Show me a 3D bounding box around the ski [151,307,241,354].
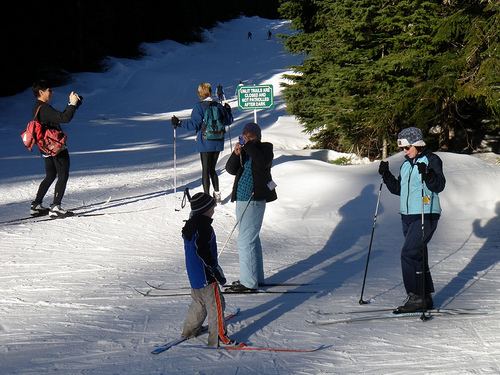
[{"bbox_3d":[-0.717,1.915,7.457,1.318,0.068,0.145,-23,34,-35],"label":"ski"}]

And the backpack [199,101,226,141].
[{"bbox_3d":[-0.757,-1.345,11.420,0.504,0.803,0.330,-6,12,-8],"label":"backpack"}]

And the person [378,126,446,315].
[{"bbox_3d":[2.394,0.476,8.256,0.867,2.635,0.940,-3,12,8],"label":"person"}]

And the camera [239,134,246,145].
[{"bbox_3d":[-0.124,-0.737,8.671,0.042,0.125,0.091,3,2,15],"label":"camera"}]

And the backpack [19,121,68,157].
[{"bbox_3d":[-3.859,-0.957,10.640,0.704,0.574,0.281,28,-4,-5],"label":"backpack"}]

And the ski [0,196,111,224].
[{"bbox_3d":[-3.964,0.470,11.478,2.415,0.297,0.175,-7,12,-8],"label":"ski"}]

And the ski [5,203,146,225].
[{"bbox_3d":[-3.318,0.526,11.205,2.279,0.282,0.187,-6,54,-18],"label":"ski"}]

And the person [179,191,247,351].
[{"bbox_3d":[-0.568,1.093,7.331,0.782,1.995,0.518,2,14,28],"label":"person"}]

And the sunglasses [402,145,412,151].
[{"bbox_3d":[2.310,-0.598,8.382,0.095,0.072,0.159,-3,-9,13],"label":"sunglasses"}]
